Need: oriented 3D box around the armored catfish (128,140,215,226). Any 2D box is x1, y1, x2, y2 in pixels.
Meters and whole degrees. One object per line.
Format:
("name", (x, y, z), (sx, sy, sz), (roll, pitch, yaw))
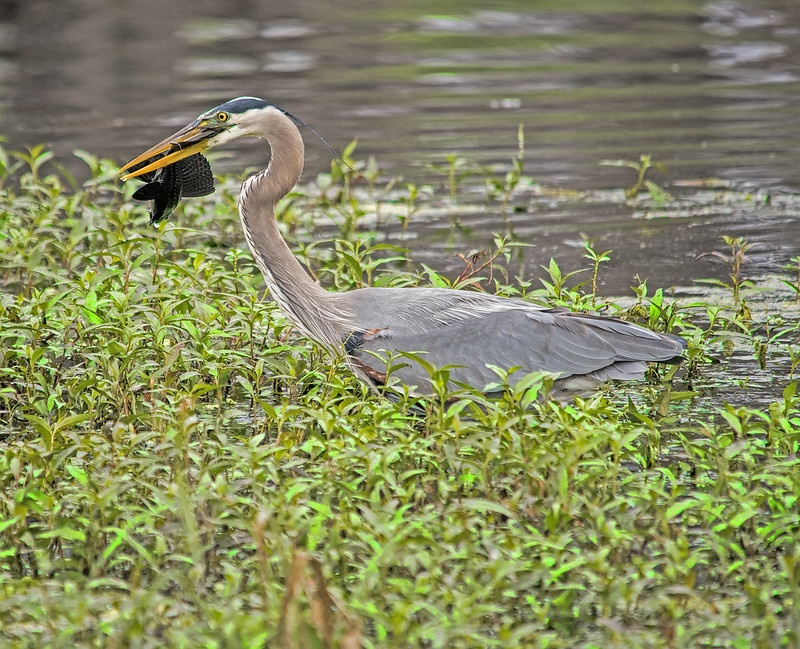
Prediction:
("armored catfish", (-1.246, -0.786, 5.885), (0.643, 0.271, 0.278), (-26, 8, -2))
